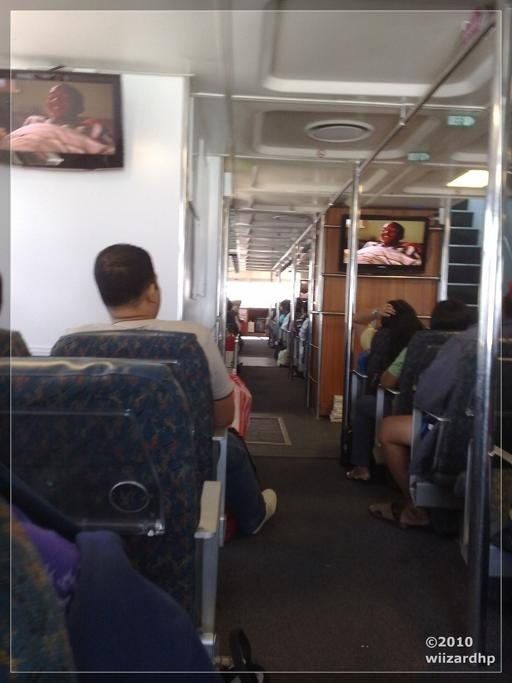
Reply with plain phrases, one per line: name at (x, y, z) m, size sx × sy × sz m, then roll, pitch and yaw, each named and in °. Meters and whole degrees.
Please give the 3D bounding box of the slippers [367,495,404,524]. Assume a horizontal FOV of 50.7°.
slippers at (0.512, 0.656, 2.116) m, size 0.056 × 0.064 × 0.154 m, roll 4°, pitch -3°, yaw -20°

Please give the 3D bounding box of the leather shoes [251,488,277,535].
leather shoes at (0.016, 0.629, 2.044) m, size 0.085 × 0.082 × 0.234 m, roll -28°, pitch 4°, yaw -1°

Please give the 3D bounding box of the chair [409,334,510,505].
chair at (0.642, 0.264, 1.828) m, size 0.342 × 0.609 × 0.464 m, roll 2°, pitch -3°, yaw 6°
